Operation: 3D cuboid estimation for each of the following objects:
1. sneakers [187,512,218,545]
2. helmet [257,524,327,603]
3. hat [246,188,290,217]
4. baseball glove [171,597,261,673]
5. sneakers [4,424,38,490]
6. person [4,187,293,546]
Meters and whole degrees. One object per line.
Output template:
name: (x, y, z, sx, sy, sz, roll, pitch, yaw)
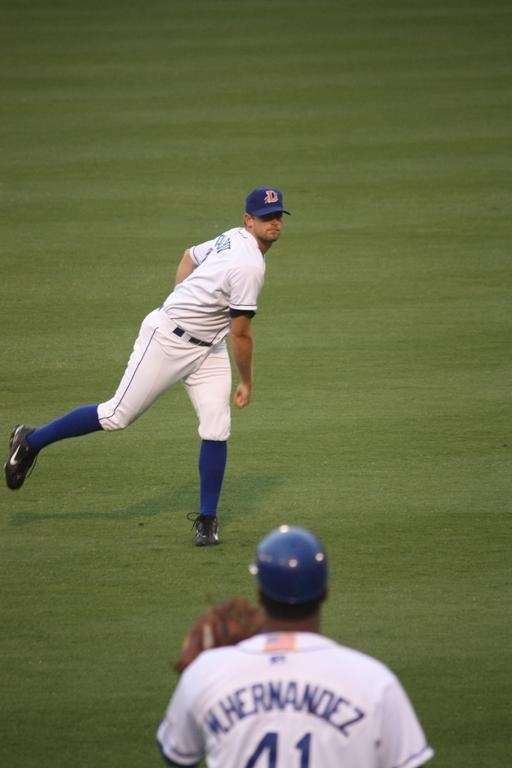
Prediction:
sneakers: (-0.217, 0.586, 4.583, 0.102, 0.127, 0.283, 1, -4, -6)
helmet: (0.069, 0.380, 2.504, 0.116, 0.099, 0.163, 1, 32, -8)
hat: (0.030, -0.740, 4.635, 0.105, 0.093, 0.160, -3, 9, -27)
baseball glove: (-0.122, 0.599, 2.676, 0.142, 0.059, 0.190, -35, -10, 7)
sneakers: (-1.021, 0.317, 4.880, 0.128, 0.314, 0.109, -2, -12, 15)
person: (-0.417, -0.132, 4.747, 0.903, 1.343, 0.718, 12, 25, 23)
